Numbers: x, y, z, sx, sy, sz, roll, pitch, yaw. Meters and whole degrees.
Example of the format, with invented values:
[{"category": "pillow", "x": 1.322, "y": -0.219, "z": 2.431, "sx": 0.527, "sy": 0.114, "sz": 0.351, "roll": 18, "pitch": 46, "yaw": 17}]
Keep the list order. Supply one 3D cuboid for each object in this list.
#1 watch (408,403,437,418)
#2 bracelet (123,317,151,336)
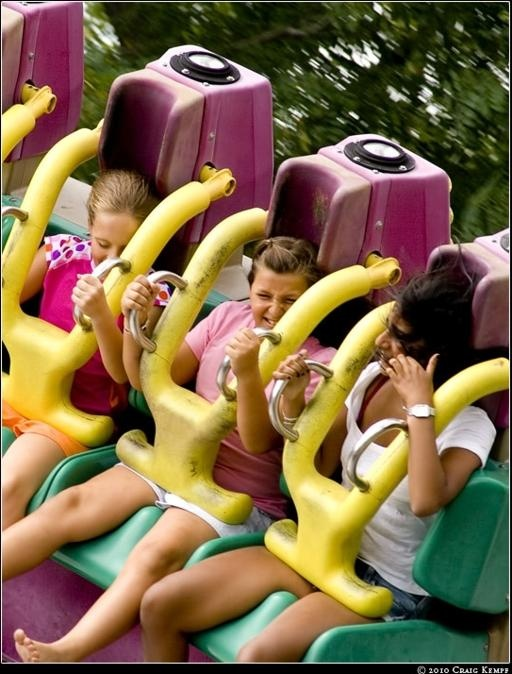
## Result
[{"category": "watch", "x": 0.194, "y": 0.087, "z": 0.702, "sx": 0.026, "sy": 0.014, "sz": 0.023, "roll": -2, "pitch": -9, "yaw": 3}, {"category": "bracelet", "x": -0.190, "y": -0.019, "z": 0.977, "sx": 0.015, "sy": 0.039, "sz": 0.030, "roll": -31, "pitch": 36, "yaw": -28}]
